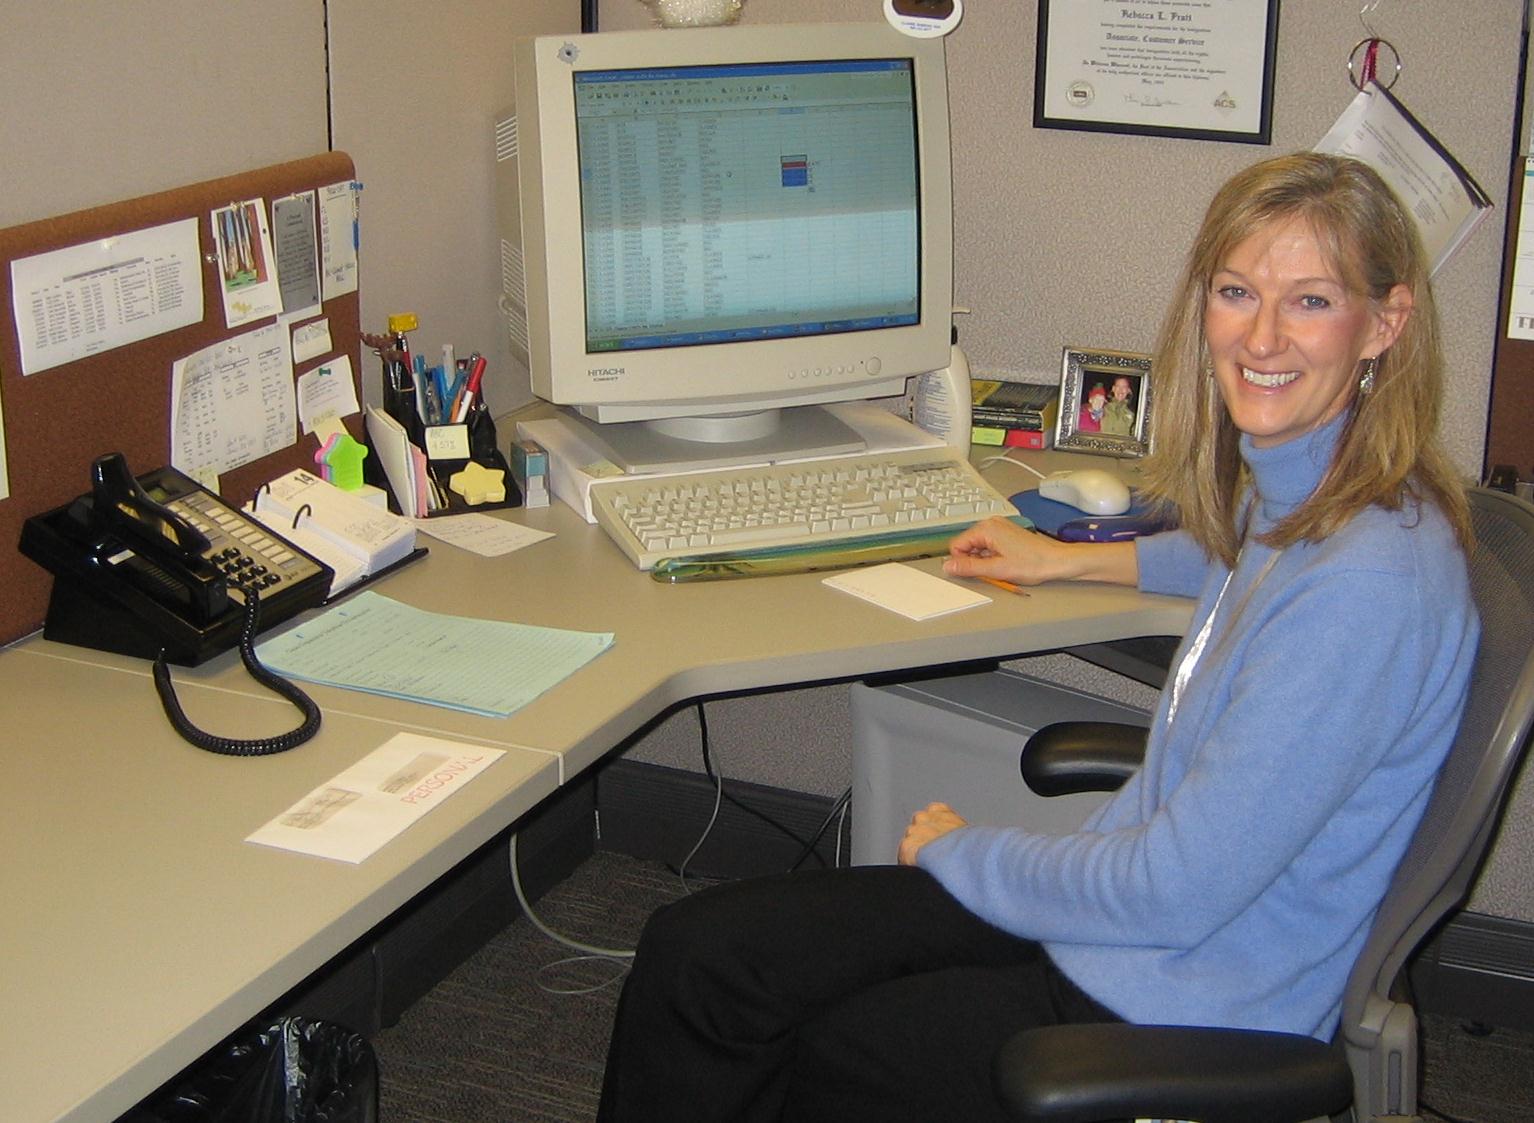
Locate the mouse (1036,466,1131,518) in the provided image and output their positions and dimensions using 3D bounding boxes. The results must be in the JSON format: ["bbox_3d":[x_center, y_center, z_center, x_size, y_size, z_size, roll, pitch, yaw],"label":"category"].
[{"bbox_3d":[0.464,-0.100,1.770,0.062,0.040,0.108,-14,27,-33],"label":"mouse"}]

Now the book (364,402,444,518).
[{"bbox_3d":[-0.528,-0.138,1.773,0.046,0.151,0.111,-22,25,-28],"label":"book"}]

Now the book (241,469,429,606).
[{"bbox_3d":[-0.574,-0.056,1.614,0.167,0.040,0.170,35,33,20],"label":"book"}]

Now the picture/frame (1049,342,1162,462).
[{"bbox_3d":[0.547,-0.249,1.986,0.211,0.217,0.023,12,-4,11],"label":"picture/frame"}]

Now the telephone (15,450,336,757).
[{"bbox_3d":[-0.706,0.095,1.464,0.342,0.193,0.343,16,20,4],"label":"telephone"}]

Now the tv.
[{"bbox_3d":[-0.035,-0.500,1.950,0.619,0.581,0.363,-5,13,-6],"label":"tv"}]

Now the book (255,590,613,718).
[{"bbox_3d":[-0.381,0.112,1.419,0.351,0.040,0.237,8,20,2],"label":"book"}]
